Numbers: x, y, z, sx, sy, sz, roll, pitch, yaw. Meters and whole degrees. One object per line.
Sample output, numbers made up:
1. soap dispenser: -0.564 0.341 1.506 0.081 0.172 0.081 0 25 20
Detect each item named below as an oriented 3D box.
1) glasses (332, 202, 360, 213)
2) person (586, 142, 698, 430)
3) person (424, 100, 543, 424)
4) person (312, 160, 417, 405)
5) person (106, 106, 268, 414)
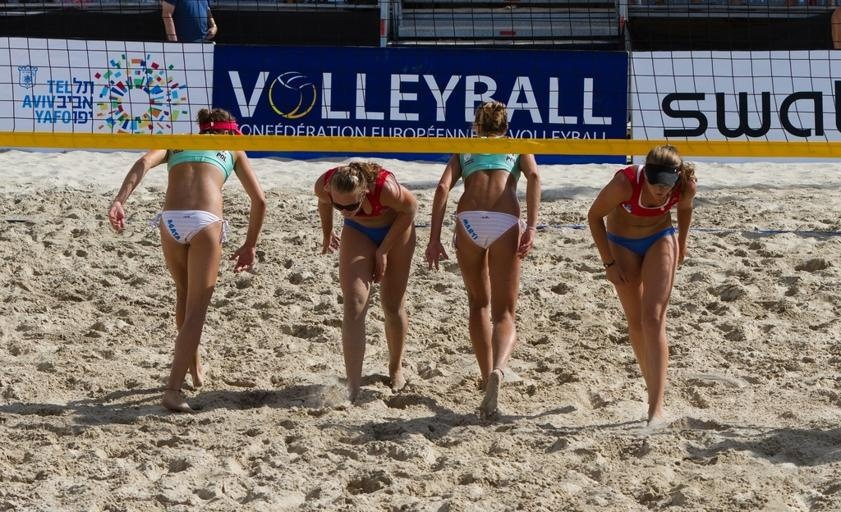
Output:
1. glasses: -0.660 -0.436 10.055 0.230 0.091 0.138 0 13 -3
2. person: 1.949 0.193 10.094 0.856 2.358 0.959 5 13 20
3. person: 0.585 -0.004 10.338 0.838 2.709 0.909 8 15 31
4. person: -0.438 0.220 10.332 0.814 2.166 0.335 -8 15 -31
5. person: -2.089 0.021 10.320 1.266 2.616 0.816 -5 14 -23
